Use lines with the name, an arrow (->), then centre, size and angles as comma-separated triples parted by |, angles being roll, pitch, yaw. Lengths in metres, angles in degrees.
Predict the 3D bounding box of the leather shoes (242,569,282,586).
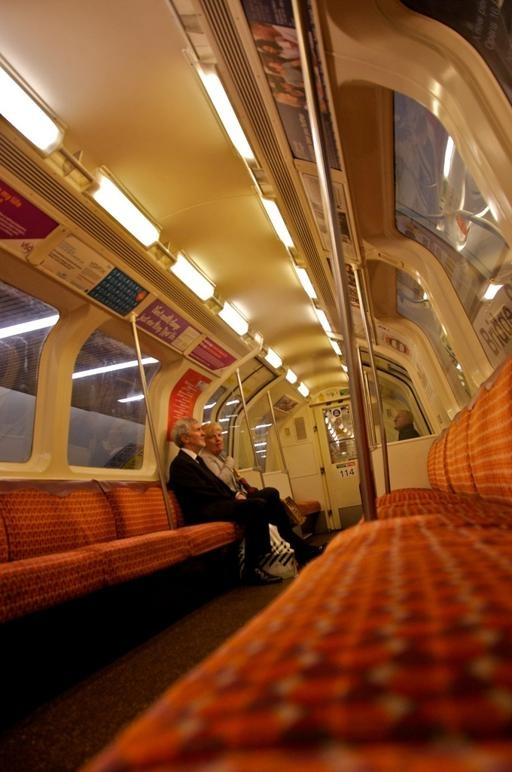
leather shoes -> 0.027, 1.475, 3.697 | 0.210, 0.062, 0.147 | -1, -6, 21

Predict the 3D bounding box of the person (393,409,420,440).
person -> 2.312, 0.640, 7.545 | 0.419, 0.567, 0.721 | -2, -32, 13
